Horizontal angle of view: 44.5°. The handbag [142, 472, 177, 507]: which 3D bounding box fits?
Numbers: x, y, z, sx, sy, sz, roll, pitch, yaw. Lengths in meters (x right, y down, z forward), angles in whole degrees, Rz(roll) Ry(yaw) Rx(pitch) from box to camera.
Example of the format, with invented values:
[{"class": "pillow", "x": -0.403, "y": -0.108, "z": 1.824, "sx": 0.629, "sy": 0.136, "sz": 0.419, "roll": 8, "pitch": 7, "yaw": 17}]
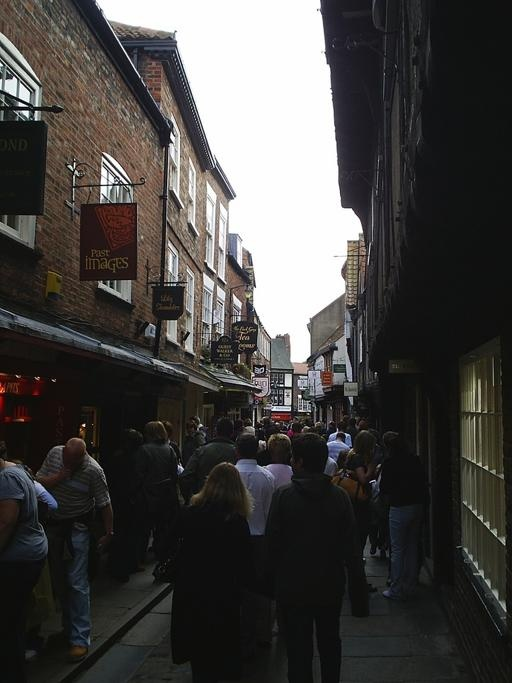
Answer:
[{"class": "handbag", "x": -1.108, "y": 1.798, "z": 7.317, "sx": 0.231, "sy": 0.357, "sz": 0.443, "roll": -7, "pitch": -9, "yaw": 32}]
